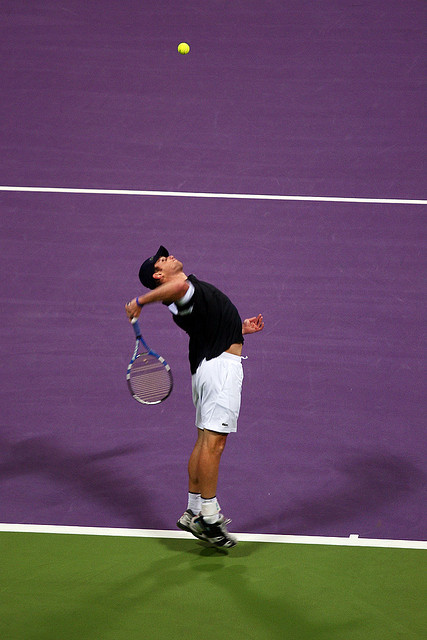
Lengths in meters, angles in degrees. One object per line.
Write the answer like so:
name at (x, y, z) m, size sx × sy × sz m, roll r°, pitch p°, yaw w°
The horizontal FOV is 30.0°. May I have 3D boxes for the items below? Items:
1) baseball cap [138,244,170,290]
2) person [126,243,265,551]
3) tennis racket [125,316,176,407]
baseball cap at (-0.349, -0.299, 4.483) m, size 0.132 × 0.256 × 0.119 m, roll 16°, pitch 12°, yaw 31°
person at (-0.147, 0.423, 4.586) m, size 0.787 × 1.631 × 1.075 m, roll 10°, pitch 10°, yaw -1°
tennis racket at (-0.394, 0.181, 4.429) m, size 0.247 × 0.666 × 0.072 m, roll -13°, pitch 32°, yaw -5°
